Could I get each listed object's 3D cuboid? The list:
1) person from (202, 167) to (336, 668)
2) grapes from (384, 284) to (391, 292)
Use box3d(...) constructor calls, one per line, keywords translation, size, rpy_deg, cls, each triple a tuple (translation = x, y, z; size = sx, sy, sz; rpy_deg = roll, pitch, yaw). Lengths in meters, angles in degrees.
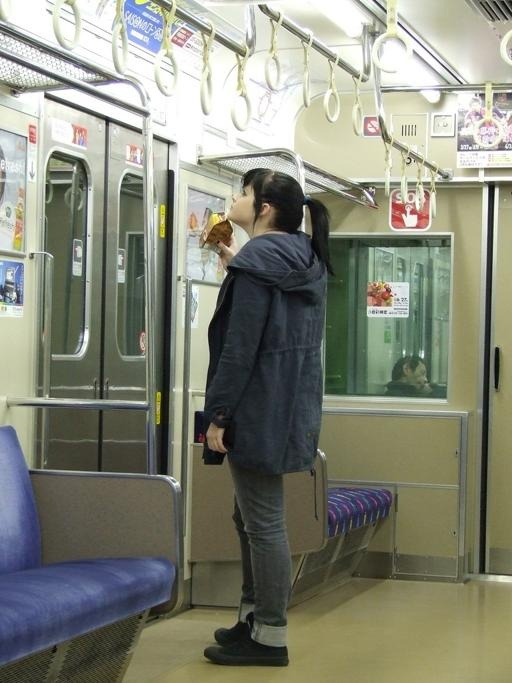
box3d(translation=(0.020, 0.274, 2.008), size=(0.357, 1.902, 0.570), rpy_deg=(1, 1, 42), cls="person")
box3d(translation=(1.041, -0.437, 4.245), size=(0.033, 0.069, 0.021), rpy_deg=(-7, -5, -7), cls="grapes")
